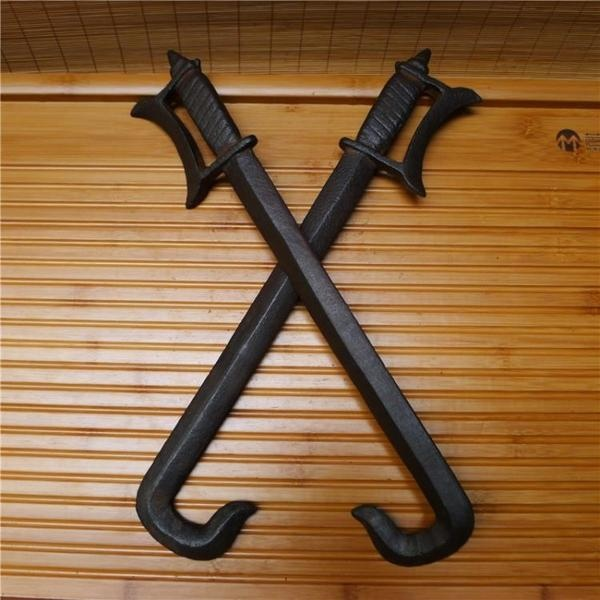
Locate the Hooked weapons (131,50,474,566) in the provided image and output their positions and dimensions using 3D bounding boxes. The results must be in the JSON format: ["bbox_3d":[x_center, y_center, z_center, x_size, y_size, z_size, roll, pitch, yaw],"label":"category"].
[{"bbox_3d":[-0.008,-0.008,1.965,0.886,1.313,0.726,4,17,-11],"label":"Hooked weapons"}]
